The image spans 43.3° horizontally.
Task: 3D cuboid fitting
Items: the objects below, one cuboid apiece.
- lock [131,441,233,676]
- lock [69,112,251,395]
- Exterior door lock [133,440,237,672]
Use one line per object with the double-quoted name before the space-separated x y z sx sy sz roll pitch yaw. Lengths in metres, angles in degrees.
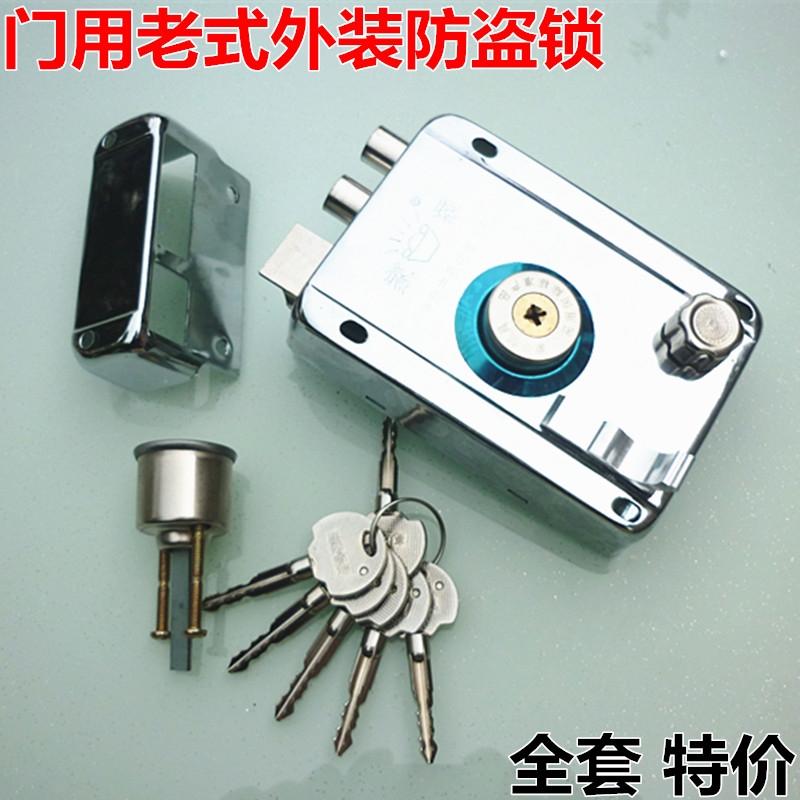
"lock" -0.261 0.183 1.252 0.120 0.279 0.130 -3 13 -12
"lock" -0.311 -0.222 1.345 0.224 0.383 0.101 5 43 -14
"Exterior door lock" -0.266 0.192 1.240 0.120 0.284 0.116 9 -16 -43
